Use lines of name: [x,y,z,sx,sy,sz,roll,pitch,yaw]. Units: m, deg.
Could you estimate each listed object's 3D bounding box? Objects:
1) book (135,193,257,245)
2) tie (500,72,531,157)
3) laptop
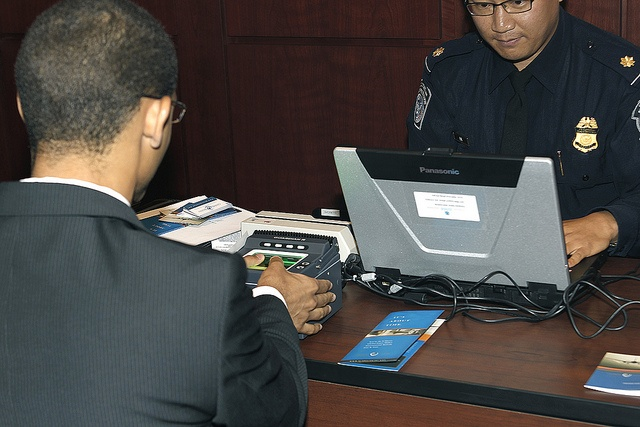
book: [-0.523,0.045,2.383,0.284,0.060,0.282,16,27,34]
tie: [0.835,-0.427,2.334,0.123,0.305,0.290,0,24,20]
laptop: [0.459,0.021,1.684,0.670,0.453,0.576,4,23,32]
